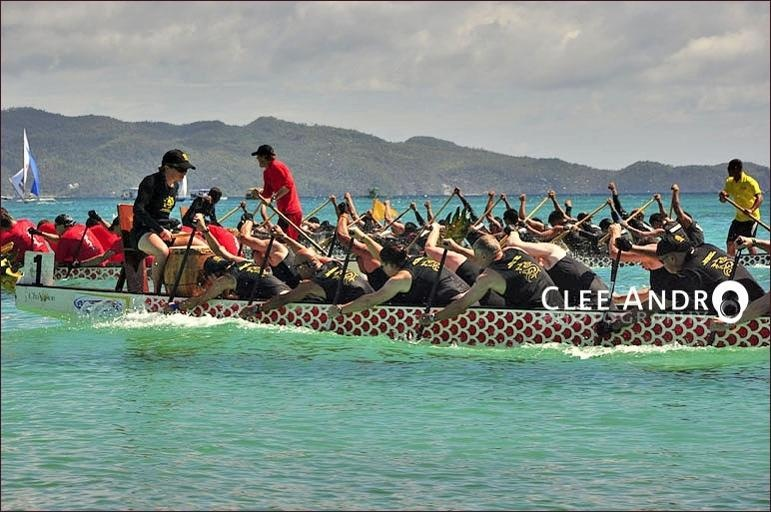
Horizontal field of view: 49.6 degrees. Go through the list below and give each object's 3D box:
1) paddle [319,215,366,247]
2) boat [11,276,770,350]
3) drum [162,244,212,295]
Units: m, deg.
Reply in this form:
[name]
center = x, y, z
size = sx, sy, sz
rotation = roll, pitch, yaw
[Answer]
[paddle]
center = -0.727, -0.542, 14.952
size = 0.294, 0.819, 0.454
rotation = -27, -59, 20
[boat]
center = 0.027, 0.959, 12.522
size = 10.756, 0.681, 0.393
rotation = 3, 16, 11
[drum]
center = -3.164, 0.216, 13.485
size = 0.822, 0.706, 0.785
rotation = 2, 6, 8
